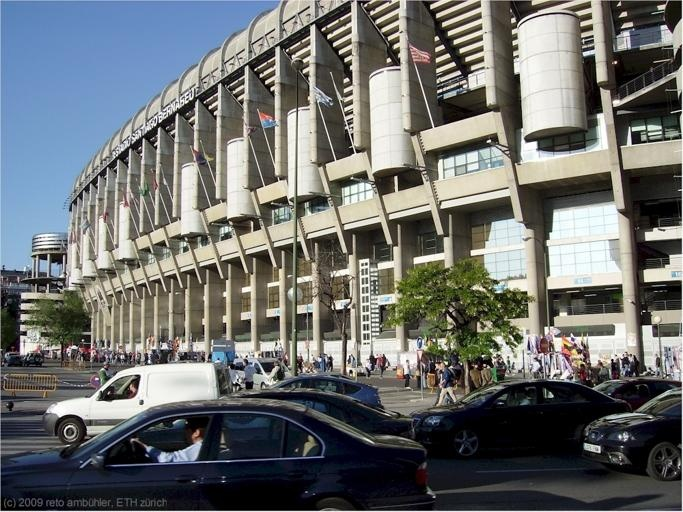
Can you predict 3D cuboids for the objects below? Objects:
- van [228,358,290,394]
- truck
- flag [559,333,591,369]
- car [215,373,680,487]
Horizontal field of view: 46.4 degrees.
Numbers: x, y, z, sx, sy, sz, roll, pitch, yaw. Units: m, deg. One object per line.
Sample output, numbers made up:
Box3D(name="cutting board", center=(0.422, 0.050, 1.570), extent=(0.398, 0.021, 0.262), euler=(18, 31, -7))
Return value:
Box3D(name="van", center=(-3.958, 5.681, 38.348), extent=(1.555, 1.451, 4.095), euler=(1, -11, -38))
Box3D(name="truck", center=(-6.174, 4.538, 24.404), extent=(5.239, 2.001, 2.468), euler=(0, -8, 5))
Box3D(name="flag", center=(12.617, 5.122, 42.879), extent=(0.150, 1.273, 3.224), euler=(-24, -44, 29))
Box3D(name="car", center=(2.947, 4.368, 19.779), extent=(7.804, 2.732, 3.033), euler=(0, -3, 2))
